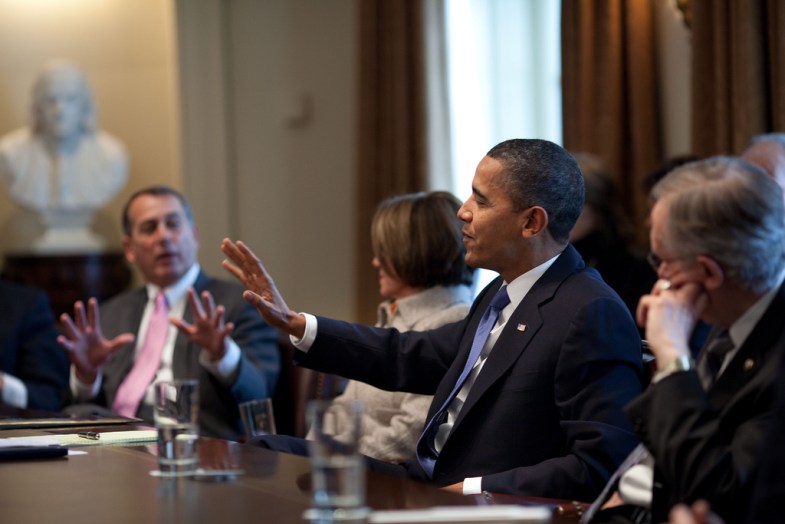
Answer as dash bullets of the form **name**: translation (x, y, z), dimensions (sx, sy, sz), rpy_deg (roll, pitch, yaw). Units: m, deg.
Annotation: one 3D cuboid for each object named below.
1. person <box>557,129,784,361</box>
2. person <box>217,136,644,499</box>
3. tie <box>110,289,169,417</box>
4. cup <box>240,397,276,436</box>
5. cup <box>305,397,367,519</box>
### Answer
- **person**: translation (1.046, -0.149, 2.886), dimensions (0.703, 0.858, 0.601), rpy_deg (-3, 0, -15)
- **person**: translation (0.009, 0.227, 2.668), dimensions (1.196, 1.482, 0.960), rpy_deg (6, -11, -13)
- **tie**: translation (-1.059, 0.370, 3.212), dimensions (0.152, 0.497, 0.262), rpy_deg (0, 2, 27)
- **cup**: translation (-0.458, 0.523, 2.616), dimensions (0.130, 0.138, 0.126), rpy_deg (-14, -11, -3)
- **cup**: translation (-0.114, 0.381, 1.532), dimensions (0.127, 0.237, 0.199), rpy_deg (-1, 1, -6)
